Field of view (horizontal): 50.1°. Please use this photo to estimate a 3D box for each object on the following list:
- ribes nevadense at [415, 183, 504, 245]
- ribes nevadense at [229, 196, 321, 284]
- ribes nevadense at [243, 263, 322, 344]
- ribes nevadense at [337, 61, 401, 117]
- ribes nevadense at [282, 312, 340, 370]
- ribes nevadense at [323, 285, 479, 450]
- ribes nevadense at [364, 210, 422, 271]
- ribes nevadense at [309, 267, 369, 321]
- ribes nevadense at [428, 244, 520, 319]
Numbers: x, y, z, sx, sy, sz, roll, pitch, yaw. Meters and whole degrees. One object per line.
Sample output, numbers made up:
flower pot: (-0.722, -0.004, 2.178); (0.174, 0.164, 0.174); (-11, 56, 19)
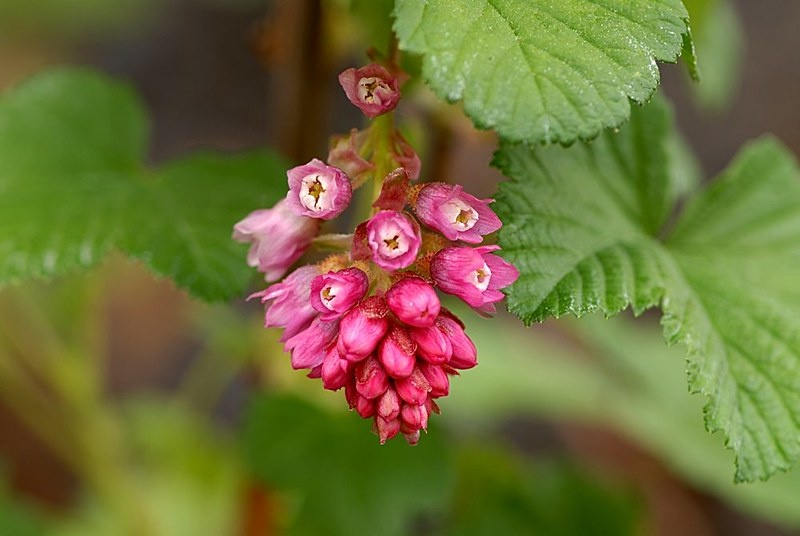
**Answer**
ribes nevadense: (0.096, -0.115, 1.605); (0.188, 0.093, 0.125); (20, -7, 0)
ribes nevadense: (-0.243, -0.062, 1.738); (0.126, 0.199, 0.087); (49, -24, -5)
ribes nevadense: (-0.224, 0.066, 1.674); (0.116, 0.183, 0.299); (7, 3, 8)
ribes nevadense: (-0.071, -0.326, 1.595); (0.122, 0.059, 0.094); (15, -18, -41)
ribes nevadense: (-0.159, 0.138, 1.557); (0.070, 0.107, 0.042); (30, -2, -13)
ribes nevadense: (0.000, 0.168, 1.552); (0.273, 0.284, 0.128); (1, -17, 2)
ribes nevadense: (-0.011, -0.047, 1.519); (0.081, 0.111, 0.058); (-4, 1, 2)
ribes nevadense: (-0.112, 0.043, 1.540); (0.106, 0.069, 0.058); (-25, 29, -28)
ribes nevadense: (0.119, 0.011, 1.578); (0.169, 0.130, 0.086); (17, -31, 23)
